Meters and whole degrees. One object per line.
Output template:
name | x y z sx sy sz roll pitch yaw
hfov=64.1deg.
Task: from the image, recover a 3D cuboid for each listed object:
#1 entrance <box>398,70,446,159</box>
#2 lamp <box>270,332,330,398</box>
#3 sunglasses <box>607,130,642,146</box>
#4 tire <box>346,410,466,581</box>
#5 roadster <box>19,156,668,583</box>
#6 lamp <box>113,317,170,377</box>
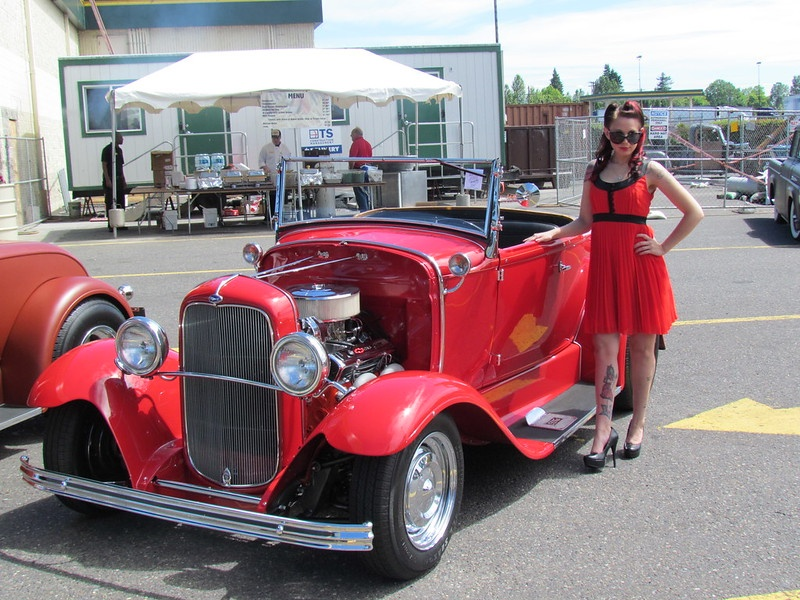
entrance | 0.645 -5.768 19.592 1.408 2.688 2.385 4 13 31
lamp | -0.489 0.315 3.031 0.306 0.333 0.125 0 2 12
sunglasses | 1.398 -1.003 3.964 0.200 0.089 0.108 1 12 18
tire | 0.004 0.941 3.042 0.255 0.926 0.789 2 -1 35
roadster | 0.062 0.404 4.401 2.074 1.769 3.981 0 6 35
lamp | -1.440 0.276 3.532 0.295 0.333 0.137 5 4 13
